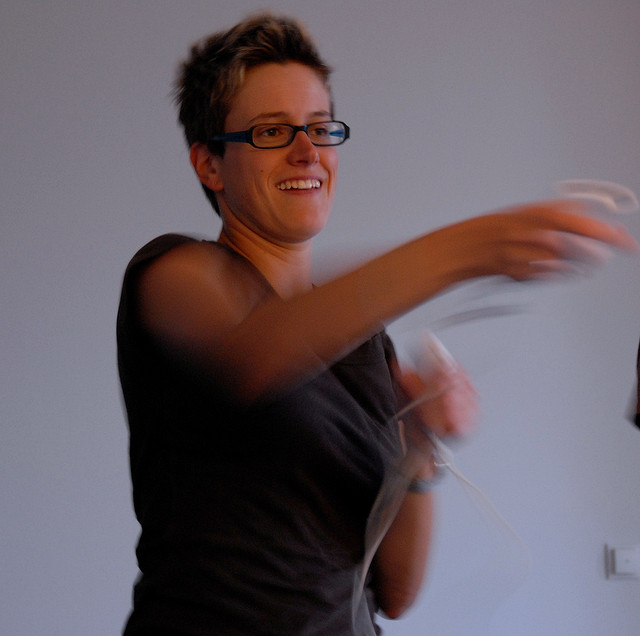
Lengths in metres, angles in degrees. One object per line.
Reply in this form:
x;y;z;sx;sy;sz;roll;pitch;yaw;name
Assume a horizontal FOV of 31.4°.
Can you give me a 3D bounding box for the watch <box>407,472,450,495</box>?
0.118;0.182;1.251;0.028;0.014;0.036;-20;-8;9;watch
